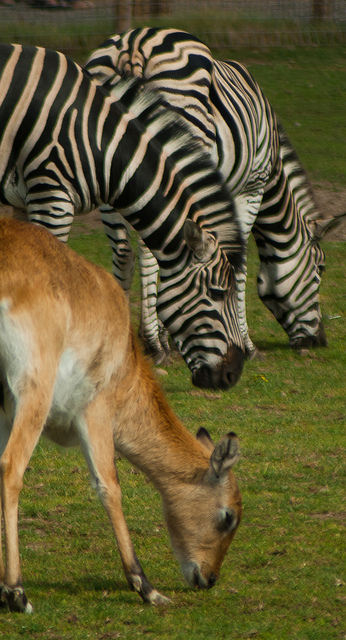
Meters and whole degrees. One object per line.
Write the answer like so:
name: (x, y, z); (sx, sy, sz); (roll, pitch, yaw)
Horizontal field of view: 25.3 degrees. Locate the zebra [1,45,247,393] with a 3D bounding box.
zebra: (-0.426, -0.894, 7.072); (2.189, 3.048, 1.001); (2, 10, 5)
